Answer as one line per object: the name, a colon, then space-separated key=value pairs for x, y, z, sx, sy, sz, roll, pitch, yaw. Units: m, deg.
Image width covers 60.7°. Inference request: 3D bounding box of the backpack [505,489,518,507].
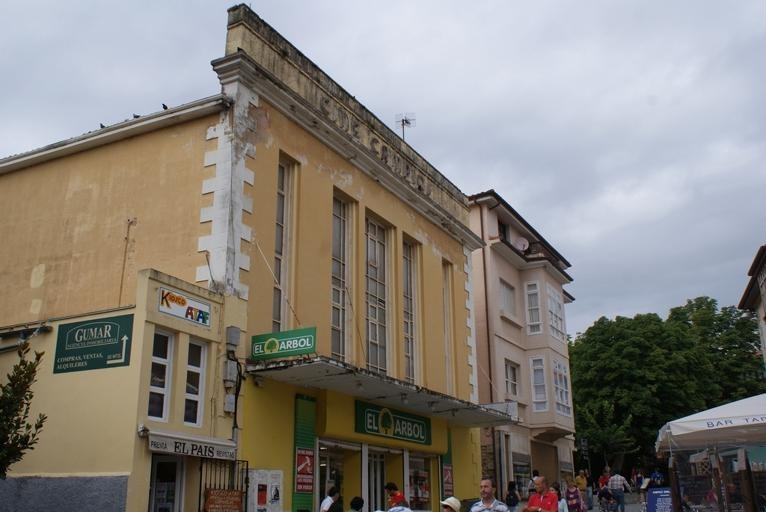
backpack: x=4.823 y=9.056 z=24.462 sx=0.458 sy=0.600 sz=0.741 roll=-8 pitch=-27 yaw=8
